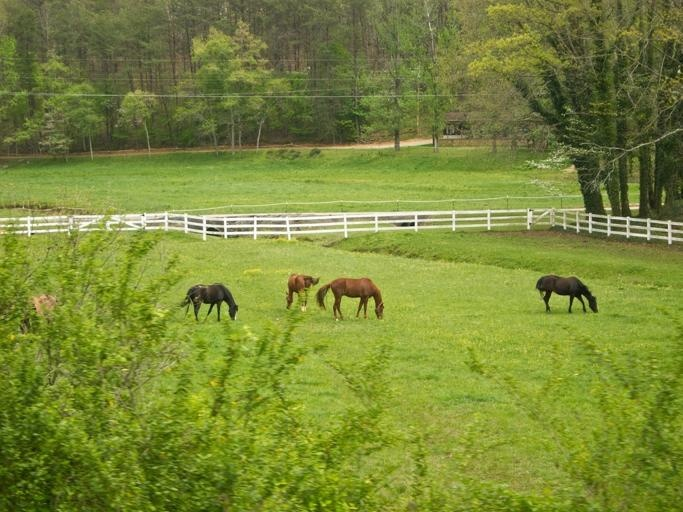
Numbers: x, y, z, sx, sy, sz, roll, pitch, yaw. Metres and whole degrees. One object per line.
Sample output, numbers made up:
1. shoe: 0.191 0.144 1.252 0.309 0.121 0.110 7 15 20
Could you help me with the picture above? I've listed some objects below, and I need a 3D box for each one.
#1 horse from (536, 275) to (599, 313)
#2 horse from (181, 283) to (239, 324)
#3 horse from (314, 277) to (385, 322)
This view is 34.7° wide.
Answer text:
1. horse: 10.247 1.636 49.570 2.675 1.649 1.990 -1 6 9
2. horse: -5.564 1.979 46.881 2.036 1.540 2.919 -3 6 -9
3. horse: 0.379 1.835 48.287 2.936 1.848 1.927 -2 6 -3
